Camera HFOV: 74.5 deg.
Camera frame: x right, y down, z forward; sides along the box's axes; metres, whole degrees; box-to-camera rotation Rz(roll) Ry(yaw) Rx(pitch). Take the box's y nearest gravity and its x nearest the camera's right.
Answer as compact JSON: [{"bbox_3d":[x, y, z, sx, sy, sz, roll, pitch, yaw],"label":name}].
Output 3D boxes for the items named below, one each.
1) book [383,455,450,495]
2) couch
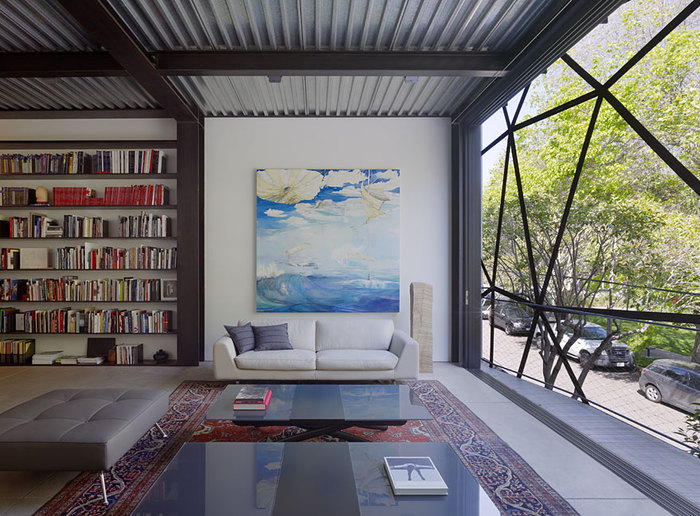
[{"bbox_3d":[0.491,1.705,3.598,0.315,0.050,0.290,1,6,-8],"label":"book"},{"bbox_3d":[-0.434,1.255,6.321,2.476,0.696,1.155,-1,11,-3],"label":"couch"}]
